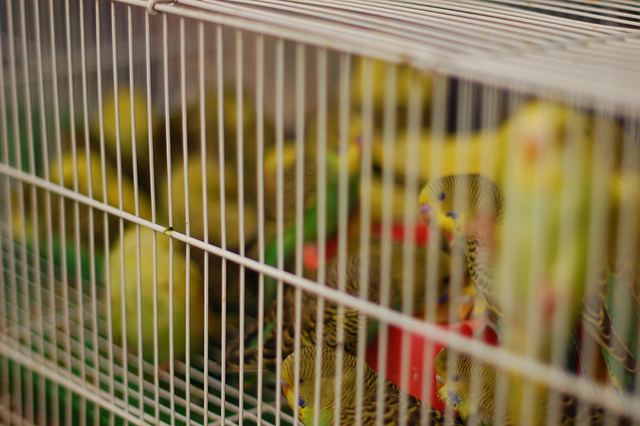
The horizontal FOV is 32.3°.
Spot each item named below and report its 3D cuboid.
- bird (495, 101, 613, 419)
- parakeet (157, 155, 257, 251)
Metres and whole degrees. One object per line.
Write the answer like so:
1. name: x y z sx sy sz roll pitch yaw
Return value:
1. bird: 0.230 0.026 1.145 0.114 0.287 0.207 3 -36 8
2. parakeet: -0.155 -0.010 1.527 0.152 0.109 0.033 4 -7 2
